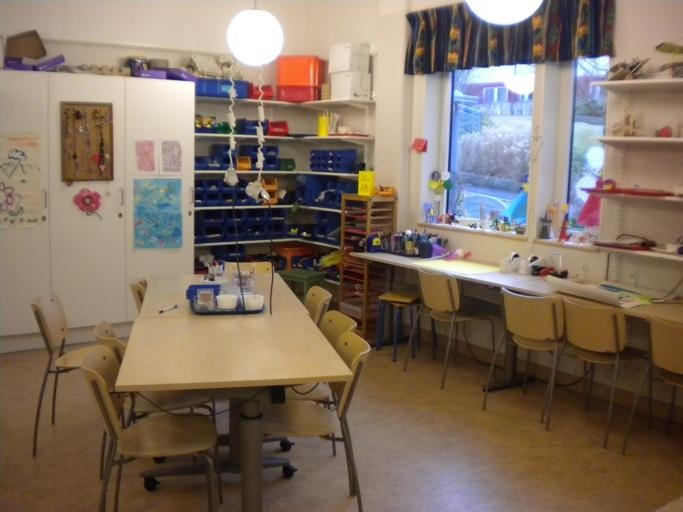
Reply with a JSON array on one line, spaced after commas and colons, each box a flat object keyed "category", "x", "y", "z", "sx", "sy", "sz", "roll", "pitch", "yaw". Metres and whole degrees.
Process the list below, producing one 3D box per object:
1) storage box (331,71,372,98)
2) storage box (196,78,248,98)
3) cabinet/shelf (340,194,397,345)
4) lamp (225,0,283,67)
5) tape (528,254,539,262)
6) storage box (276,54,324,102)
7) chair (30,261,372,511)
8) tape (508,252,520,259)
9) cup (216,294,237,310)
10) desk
[{"category": "storage box", "x": 0.120, "y": -1.987, "z": 6.541, "sx": 0.469, "sy": 0.341, "sz": 0.335, "roll": 7, "pitch": 8, "yaw": 43}, {"category": "storage box", "x": -1.439, "y": -1.954, "z": 6.653, "sx": 0.676, "sy": 0.222, "sz": 0.426, "roll": -4, "pitch": 7, "yaw": -34}, {"category": "cabinet/shelf", "x": 0.178, "y": 0.125, "z": 6.301, "sx": 0.457, "sy": 1.680, "sz": 0.590, "roll": 2, "pitch": 5, "yaw": -33}, {"category": "lamp", "x": -0.641, "y": -1.630, "z": 4.125, "sx": 0.393, "sy": 0.406, "sz": 0.207, "roll": -4, "pitch": 11, "yaw": -9}, {"category": "tape", "x": 1.786, "y": 0.020, "z": 5.154, "sx": 0.063, "sy": 0.084, "sz": 0.080, "roll": 12, "pitch": 24, "yaw": 31}, {"category": "storage box", "x": -0.531, "y": -2.192, "z": 7.035, "sx": 0.585, "sy": 0.572, "sz": 0.582, "roll": -3, "pitch": 11, "yaw": -14}, {"category": "chair", "x": -0.699, "y": 0.915, "z": 3.774, "sx": 1.375, "sy": 1.158, "sz": 1.851, "roll": -6, "pitch": 11, "yaw": -18}, {"category": "tape", "x": 1.654, "y": 0.001, "z": 5.264, "sx": 0.045, "sy": 0.050, "sz": 0.125, "roll": 0, "pitch": -3, "yaw": 5}, {"category": "cup", "x": -0.809, "y": 0.327, "z": 3.916, "sx": 0.117, "sy": 0.069, "sz": 0.107, "roll": 1, "pitch": -1, "yaw": 0}, {"category": "desk", "x": 1.205, "y": 0.759, "z": 5.302, "sx": 0.823, "sy": 0.848, "sz": 1.746, "roll": 29, "pitch": 21, "yaw": 20}]
